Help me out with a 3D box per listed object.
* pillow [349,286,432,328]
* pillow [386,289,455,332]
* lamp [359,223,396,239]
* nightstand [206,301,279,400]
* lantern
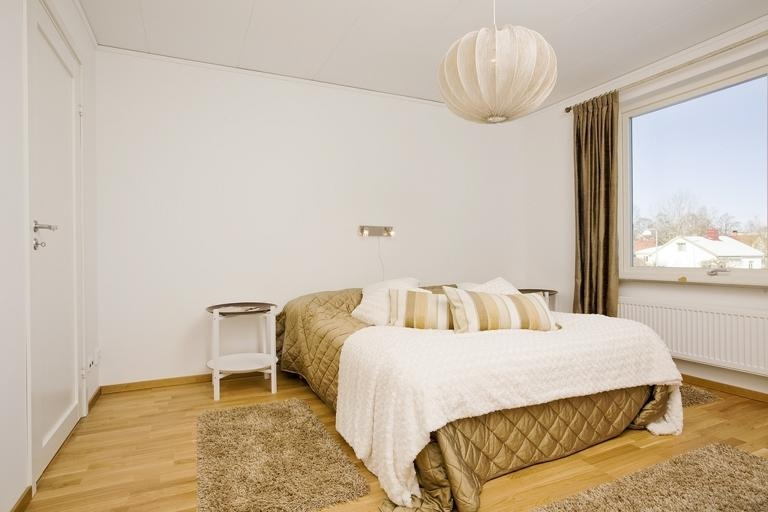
[{"bbox_3d":[0.008,0.397,4.515,0.390,0.136,0.441,9,18,42],"label":"pillow"},{"bbox_3d":[0.266,0.414,4.181,0.600,0.356,0.151,0,11,36],"label":"pillow"},{"bbox_3d":[-0.074,-0.256,5.437,0.414,0.139,0.081,-2,1,-33],"label":"lamp"},{"bbox_3d":[-1.282,0.839,4.847,0.754,0.930,0.769,0,-3,-15],"label":"nightstand"},{"bbox_3d":[0.809,-1.212,3.605,0.696,0.530,0.663,0,3,37],"label":"lantern"}]
